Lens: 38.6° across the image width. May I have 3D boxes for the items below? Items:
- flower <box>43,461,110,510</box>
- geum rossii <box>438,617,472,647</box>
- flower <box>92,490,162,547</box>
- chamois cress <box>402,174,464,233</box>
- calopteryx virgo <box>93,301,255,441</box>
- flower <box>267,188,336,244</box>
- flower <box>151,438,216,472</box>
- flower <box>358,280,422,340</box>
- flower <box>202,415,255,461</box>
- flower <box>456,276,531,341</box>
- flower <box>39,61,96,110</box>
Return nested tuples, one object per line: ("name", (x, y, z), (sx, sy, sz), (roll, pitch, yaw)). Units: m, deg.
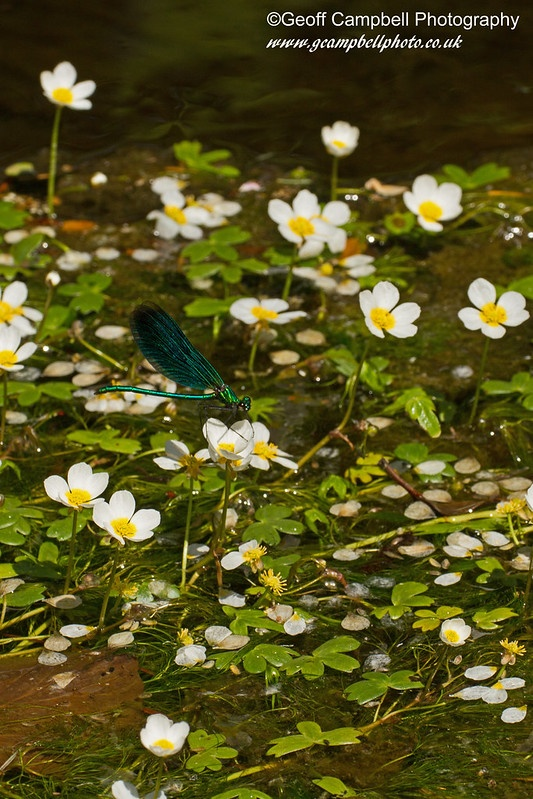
("flower", (-0.263, 0.116, 1.019), (0.054, 0.057, 0.081), (9, 16, 29))
("geum rossii", (0.276, 0.338, 1.113), (0.051, 0.020, 0.036), (13, 43, 12))
("flower", (-0.184, 0.153, 1.014), (0.067, 0.065, 0.095), (8, 16, 28))
("chamois cress", (0.373, -0.443, 1.717), (0.140, 0.118, 0.085), (-2, 15, -9))
("calopteryx virgo", (-0.156, -0.050, 1.418), (0.381, 0.200, 0.123), (12, -17, 12))
("flower", (0.073, -0.391, 1.640), (0.122, 0.118, 0.115), (6, 16, 21))
("flower", (-0.129, 0.090, 1.143), (0.077, 0.061, 0.111), (-1, 14, -4))
("flower", (0.209, -0.146, 1.243), (0.075, 0.091, 0.129), (10, 17, 33))
("flower", (-0.054, 0.062, 1.044), (0.061, 0.036, 0.064), (-13, 43, -25))
("flower", (0.406, -0.152, 1.304), (0.101, 0.114, 0.156), (9, 16, 29))
("flower", (-0.456, -0.732, 1.770), (0.079, 0.102, 0.112), (8, 16, 25))
